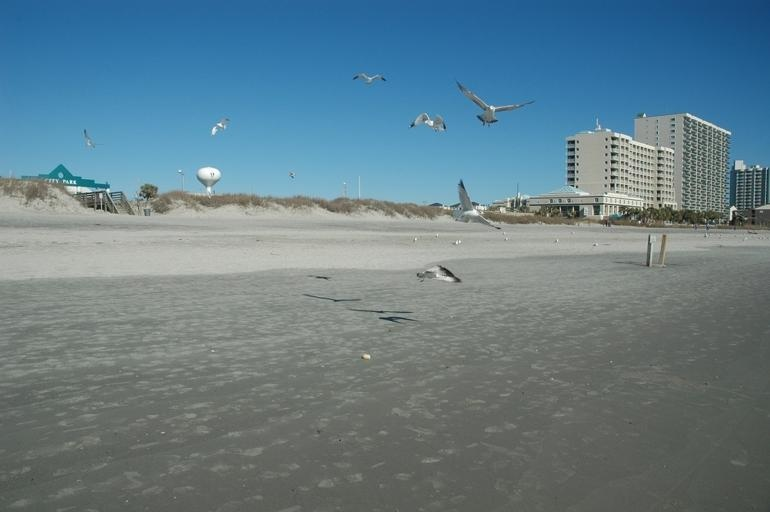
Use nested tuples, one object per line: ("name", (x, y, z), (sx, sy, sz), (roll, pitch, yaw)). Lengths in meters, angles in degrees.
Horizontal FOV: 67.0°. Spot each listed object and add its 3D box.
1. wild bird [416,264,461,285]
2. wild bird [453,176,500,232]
("wild bird", (1.488, 0.579, 17.311), (0.918, 0.339, 0.821), (-12, -2, 28))
("wild bird", (3.422, -1.996, 24.155), (1.463, 2.314, 0.662), (-2, 50, 0))
